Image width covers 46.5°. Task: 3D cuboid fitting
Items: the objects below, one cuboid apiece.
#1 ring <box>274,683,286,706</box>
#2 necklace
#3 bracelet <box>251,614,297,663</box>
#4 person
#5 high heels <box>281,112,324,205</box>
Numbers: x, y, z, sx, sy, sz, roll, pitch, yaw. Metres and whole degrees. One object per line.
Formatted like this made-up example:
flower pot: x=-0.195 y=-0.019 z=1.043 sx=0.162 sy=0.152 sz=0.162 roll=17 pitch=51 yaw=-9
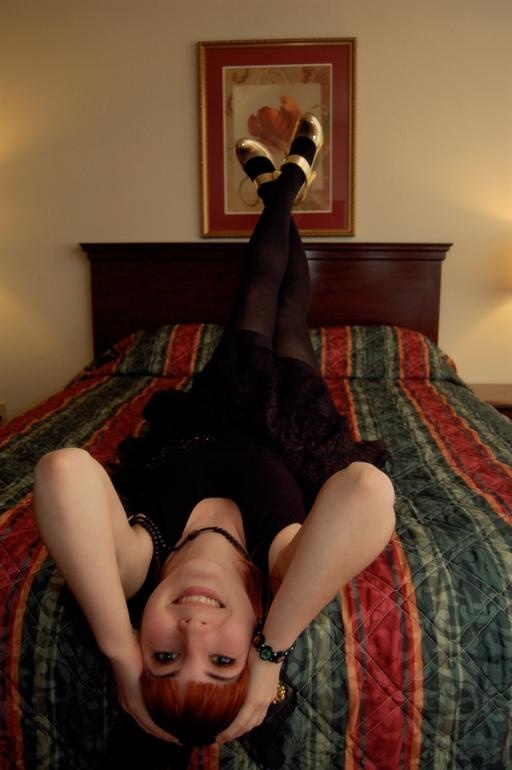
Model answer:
ring: x=0.036 y=0.451 z=0.865 sx=0.021 sy=0.030 sz=0.011 roll=3 pitch=99 yaw=22
necklace: x=-0.132 y=0.233 z=0.939 sx=0.102 sy=0.137 sz=0.041 roll=4 pitch=97 yaw=2
bracelet: x=0.015 y=0.348 z=0.816 sx=0.044 sy=0.022 sz=0.056 roll=1 pitch=75 yaw=-4
person: x=-0.016 y=0.027 z=1.218 sx=0.407 sy=0.460 sz=1.157 roll=3 pitch=45 yaw=4
high heels: x=0.156 y=-0.737 z=1.909 sx=0.125 sy=0.103 sz=0.342 roll=12 pitch=82 yaw=7
